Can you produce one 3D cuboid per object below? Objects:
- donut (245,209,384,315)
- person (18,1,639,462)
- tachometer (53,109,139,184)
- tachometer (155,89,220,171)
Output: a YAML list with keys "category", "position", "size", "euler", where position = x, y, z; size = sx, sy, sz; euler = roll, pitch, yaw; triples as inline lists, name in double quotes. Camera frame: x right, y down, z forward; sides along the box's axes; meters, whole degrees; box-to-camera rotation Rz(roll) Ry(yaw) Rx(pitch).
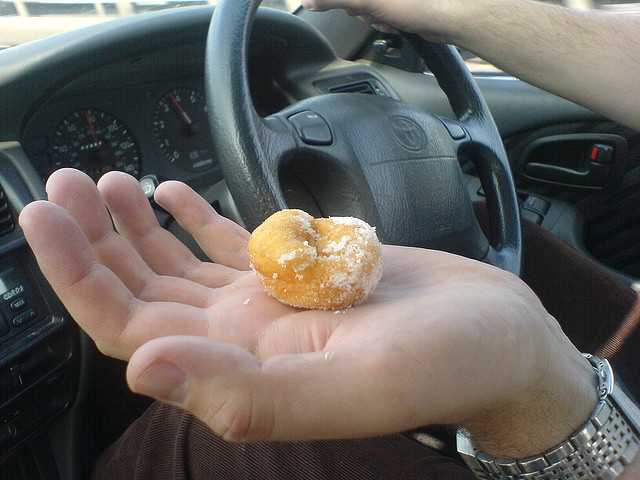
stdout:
- category: "donut"
  position: [-0.013, 0.036, 1.214]
  size: [0.222, 0.104, 0.237]
  euler: [7, 52, 2]
- category: "person"
  position: [-0.173, -0.009, 1.417]
  size: [1.064, 0.642, 1.429]
  euler: [-3, 28, -34]
- category: "tachometer"
  position: [-0.676, -0.268, 1.685]
  size: [0.245, 0.245, 0.070]
  euler: [-30, 37, -25]
- category: "tachometer"
  position: [-0.434, -0.369, 1.861]
  size: [0.278, 0.323, 0.034]
  euler: [-5, -12, -44]
